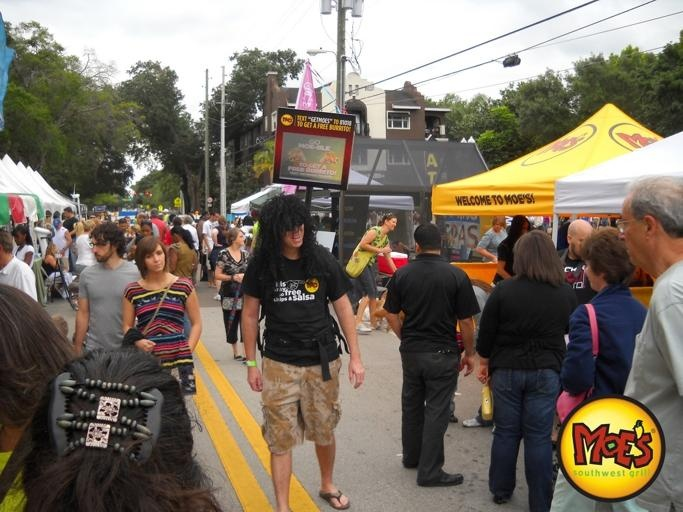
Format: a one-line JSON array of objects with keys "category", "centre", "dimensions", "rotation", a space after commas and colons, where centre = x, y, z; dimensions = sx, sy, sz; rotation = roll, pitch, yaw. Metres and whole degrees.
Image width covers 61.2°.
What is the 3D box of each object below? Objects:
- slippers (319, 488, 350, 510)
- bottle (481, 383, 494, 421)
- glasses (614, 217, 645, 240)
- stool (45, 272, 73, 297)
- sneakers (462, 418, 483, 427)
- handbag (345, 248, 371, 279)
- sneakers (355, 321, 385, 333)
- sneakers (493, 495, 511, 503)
[{"category": "slippers", "centre": [-0.055, 1.853, 4.421], "dimensions": [0.104, 0.069, 0.186], "rotation": [-4, 6, -40]}, {"category": "bottle", "centre": [1.140, 1.173, 4.512], "dimensions": [0.073, 0.316, 0.306], "rotation": [1, 5, 11]}, {"category": "glasses", "centre": [1.250, -0.105, 2.510], "dimensions": [0.093, 0.032, 0.091], "rotation": [33, 1, -10]}, {"category": "stool", "centre": [-6.552, 0.637, 13.375], "dimensions": [0.519, 0.407, 0.370], "rotation": [-1, -7, 17]}, {"category": "sneakers", "centre": [1.356, 1.733, 6.001], "dimensions": [0.207, 0.095, 0.076], "rotation": [4, -4, -12]}, {"category": "handbag", "centre": [0.295, 0.134, 9.789], "dimensions": [0.367, 0.537, 0.301], "rotation": [34, -4, -8]}, {"category": "sneakers", "centre": [0.565, 1.312, 10.667], "dimensions": [0.588, 0.251, 0.206], "rotation": [-2, 3, -13]}, {"category": "sneakers", "centre": [1.235, 1.847, 4.408], "dimensions": [0.146, 0.063, 0.069], "rotation": [-1, 5, -6]}]
